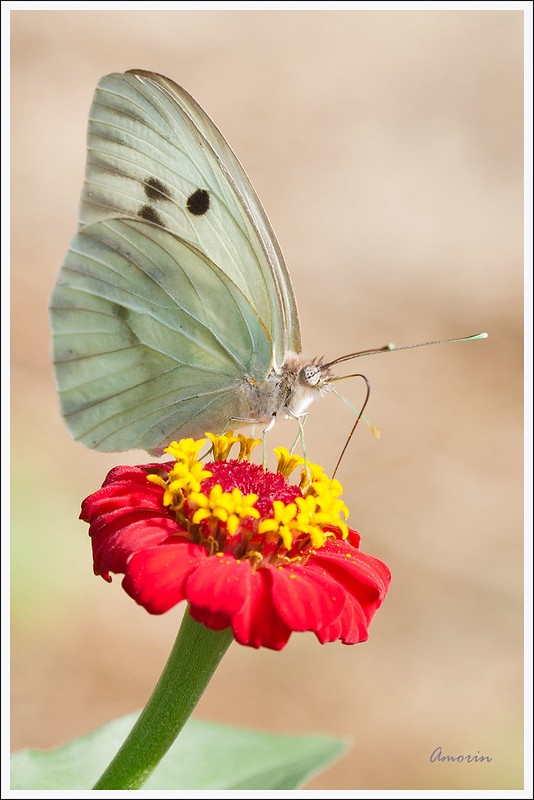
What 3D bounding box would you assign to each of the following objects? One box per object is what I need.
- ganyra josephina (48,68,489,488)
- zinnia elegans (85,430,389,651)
[{"bbox_3d":[0.026,-0.475,2.904,1.295,1.293,1.381,9,0,17],"label":"ganyra josephina"},{"bbox_3d":[-0.056,0.325,2.001,0.751,0.734,0.294,14,-76,-19],"label":"zinnia elegans"}]
